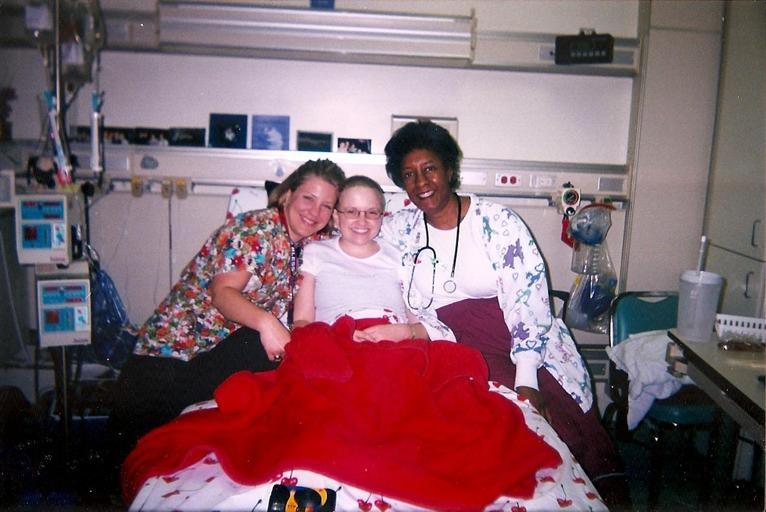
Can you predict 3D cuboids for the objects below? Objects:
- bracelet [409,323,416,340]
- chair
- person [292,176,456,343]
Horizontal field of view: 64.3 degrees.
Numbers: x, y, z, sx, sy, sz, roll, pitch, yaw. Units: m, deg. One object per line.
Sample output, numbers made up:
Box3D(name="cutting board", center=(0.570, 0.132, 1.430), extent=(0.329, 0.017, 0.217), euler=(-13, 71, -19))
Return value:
Box3D(name="bracelet", center=(0.170, 0.447, 3.540), extent=(0.047, 0.063, 0.024), euler=(0, -4, -27))
Box3D(name="chair", center=(1.810, 0.672, 4.144), extent=(0.688, 0.969, 0.774), euler=(0, -3, 11))
Box3D(name="person", center=(-0.214, -0.028, 3.951), extent=(0.964, 1.244, 0.892), euler=(0, 3, -16))
